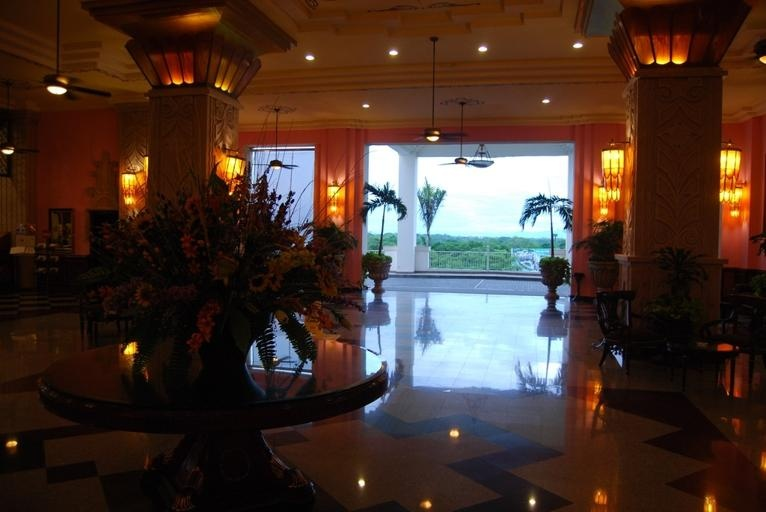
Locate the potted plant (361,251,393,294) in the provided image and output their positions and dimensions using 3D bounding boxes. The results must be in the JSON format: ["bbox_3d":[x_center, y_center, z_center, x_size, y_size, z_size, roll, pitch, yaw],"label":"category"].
[{"bbox_3d":[-0.287,0.388,12.872,0.775,1.024,0.778,0,2,22],"label":"potted plant"}]

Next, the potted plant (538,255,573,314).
[{"bbox_3d":[3.491,0.593,11.727,0.602,1.036,1.521,5,13,20],"label":"potted plant"}]

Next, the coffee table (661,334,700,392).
[{"bbox_3d":[3.427,1.244,6.567,0.494,0.571,0.539,-1,9,26],"label":"coffee table"}]

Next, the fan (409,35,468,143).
[{"bbox_3d":[1.058,-2.828,10.995,1.217,1.804,1.182,-1,4,19],"label":"fan"}]

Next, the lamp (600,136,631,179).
[{"bbox_3d":[4.382,-1.828,10.844,0.382,0.669,0.673,6,13,26],"label":"lamp"}]
